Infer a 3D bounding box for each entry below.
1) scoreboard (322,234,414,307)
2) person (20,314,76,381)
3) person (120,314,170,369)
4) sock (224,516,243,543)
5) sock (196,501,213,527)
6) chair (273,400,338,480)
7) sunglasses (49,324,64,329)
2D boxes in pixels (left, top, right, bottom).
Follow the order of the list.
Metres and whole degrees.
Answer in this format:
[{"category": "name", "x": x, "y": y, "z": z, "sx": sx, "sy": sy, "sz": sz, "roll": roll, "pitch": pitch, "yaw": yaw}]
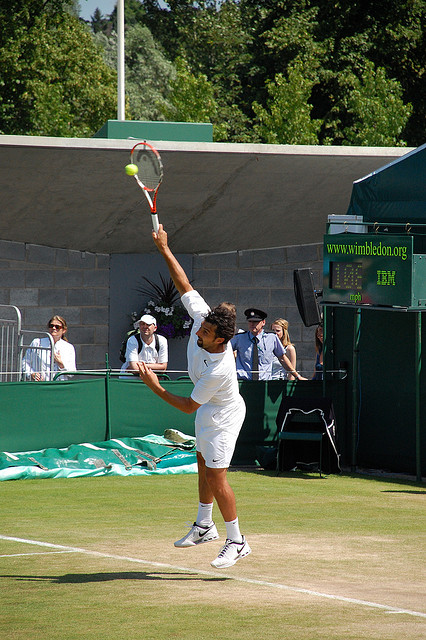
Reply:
[{"category": "scoreboard", "x": 1.686, "y": -0.571, "z": 13.235, "sx": 0.110, "sy": 0.913, "sz": 1.606, "roll": 1, "pitch": -3, "yaw": -30}, {"category": "person", "x": -2.246, "y": 0.363, "z": 15.762, "sx": 0.777, "sy": 1.094, "sz": 0.680, "roll": 3, "pitch": -16, "yaw": 3}, {"category": "person", "x": -0.801, "y": 0.277, "z": 14.521, "sx": 0.733, "sy": 0.905, "sz": 0.636, "roll": 1, "pitch": -1, "yaw": -2}, {"category": "sock", "x": 0.144, "y": 1.448, "z": 8.193, "sx": 0.138, "sy": 0.161, "sz": 0.101, "roll": 1, "pitch": -3, "yaw": -19}, {"category": "sock", "x": -0.070, "y": 1.396, "z": 8.600, "sx": 0.159, "sy": 0.224, "sz": 0.151, "roll": 2, "pitch": -15, "yaw": -1}, {"category": "chair", "x": 1.070, "y": 1.295, "z": 13.694, "sx": 0.730, "sy": 0.886, "sz": 0.533, "roll": 1, "pitch": 3, "yaw": 12}, {"category": "sunglasses", "x": -1.928, "y": 0.072, "z": 14.507, "sx": 0.152, "sy": 0.052, "sz": 0.101, "roll": 0, "pitch": -3, "yaw": -7}]
